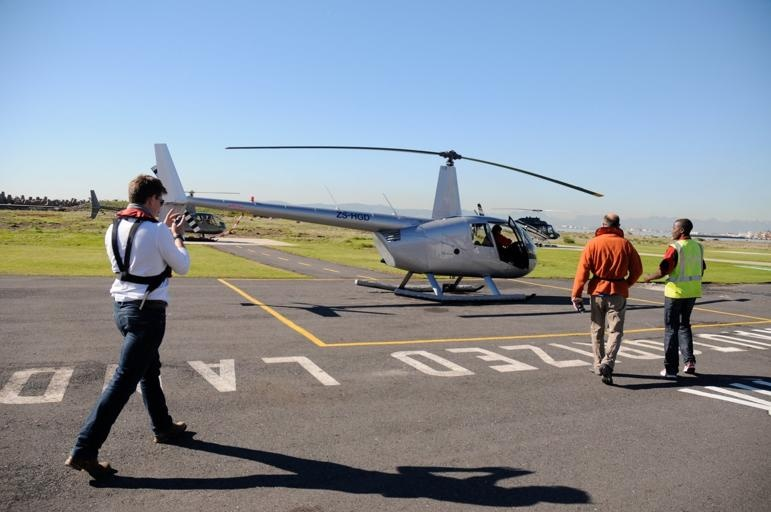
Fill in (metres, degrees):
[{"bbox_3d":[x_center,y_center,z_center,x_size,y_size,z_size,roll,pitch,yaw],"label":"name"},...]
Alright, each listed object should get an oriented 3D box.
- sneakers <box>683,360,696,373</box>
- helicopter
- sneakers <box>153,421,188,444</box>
[{"bbox_3d":[5.778,2.115,8.899,0.260,0.167,0.331,2,-6,1],"label":"sneakers"},{"bbox_3d":[-0.323,-0.644,15.635,11.066,2.248,8.306,0,2,-13],"label":"helicopter"},{"bbox_3d":[-2.724,2.214,5.936,0.430,0.144,0.165,-12,21,-42],"label":"sneakers"}]
